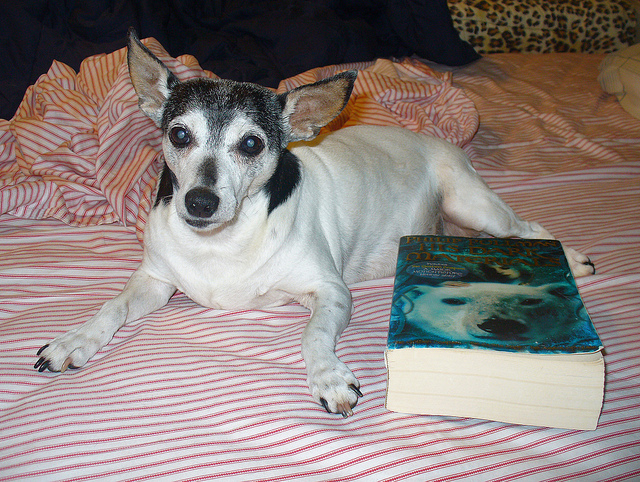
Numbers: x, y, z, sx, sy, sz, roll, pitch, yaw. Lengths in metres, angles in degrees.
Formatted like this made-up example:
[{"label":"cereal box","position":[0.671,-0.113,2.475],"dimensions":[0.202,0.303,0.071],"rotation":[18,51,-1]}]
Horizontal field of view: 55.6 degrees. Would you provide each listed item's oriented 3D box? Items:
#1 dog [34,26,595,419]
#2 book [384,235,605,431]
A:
[{"label":"dog","position":[-0.113,-0.191,3.325],"dimensions":[1.912,1.219,2.446],"rotation":[13,30,36]},{"label":"book","position":[0.719,0.319,2.582],"dimensions":[0.822,0.291,0.923],"rotation":[2,28,9]}]
